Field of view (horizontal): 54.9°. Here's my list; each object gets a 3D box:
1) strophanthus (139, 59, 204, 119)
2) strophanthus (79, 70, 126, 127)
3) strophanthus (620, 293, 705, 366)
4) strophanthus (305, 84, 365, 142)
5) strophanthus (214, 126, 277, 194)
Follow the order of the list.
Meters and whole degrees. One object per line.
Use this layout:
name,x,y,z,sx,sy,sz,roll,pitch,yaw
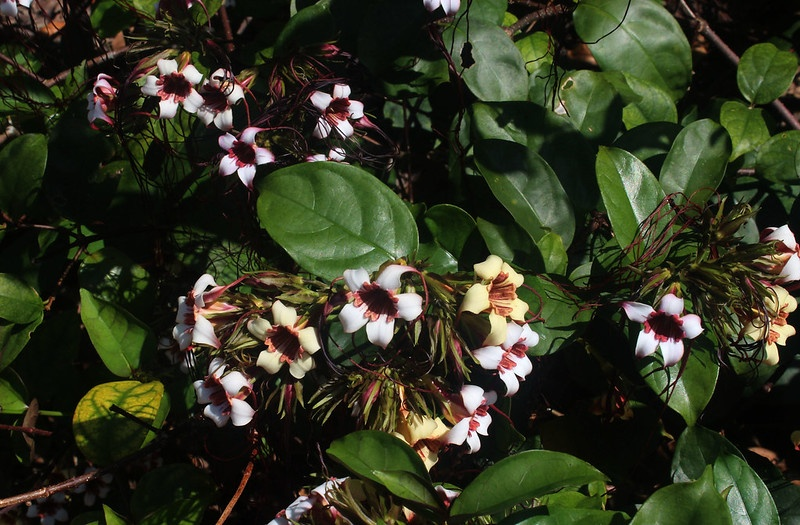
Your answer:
strophanthus,-0.751,-0.571,2.538,0.195,0.174,0.159,1,31,-15
strophanthus,-1.027,-0.554,2.658,0.098,0.186,0.191,-4,32,-21
strophanthus,0.819,0.166,2.350,0.203,0.230,0.066,26,15,12
strophanthus,-0.211,-0.500,2.557,0.186,0.160,0.071,-5,31,-23
strophanthus,-0.499,-0.352,2.500,0.178,0.170,0.135,0,30,-16
